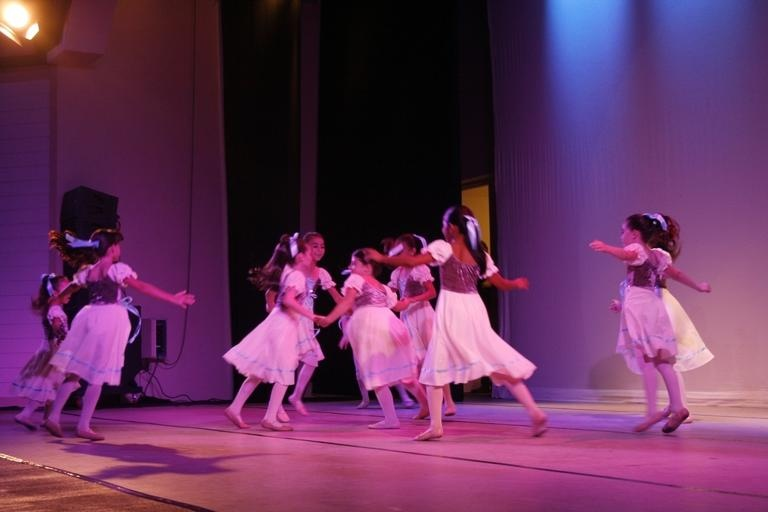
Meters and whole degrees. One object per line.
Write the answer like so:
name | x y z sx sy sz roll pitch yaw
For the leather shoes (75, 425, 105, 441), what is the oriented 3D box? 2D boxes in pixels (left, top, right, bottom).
leather shoes | -2.242 1.349 4.183 0.285 0.119 0.099 0 -8 18

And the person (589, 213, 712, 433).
person | 2.568 0.663 5.213 1.355 1.870 0.876 30 -33 -26

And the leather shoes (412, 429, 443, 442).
leather shoes | 0.316 1.272 3.907 0.250 0.111 0.079 1 -3 1

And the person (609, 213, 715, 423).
person | 2.185 0.504 4.411 0.590 1.800 1.196 -2 -5 29

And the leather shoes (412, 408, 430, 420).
leather shoes | 0.345 1.518 5.228 0.066 0.091 0.203 3 -4 -37

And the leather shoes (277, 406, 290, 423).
leather shoes | -0.936 1.495 5.162 0.106 0.135 0.326 0 -9 -16

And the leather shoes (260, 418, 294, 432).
leather shoes | -0.862 1.382 4.433 0.255 0.073 0.112 2 -3 -5
